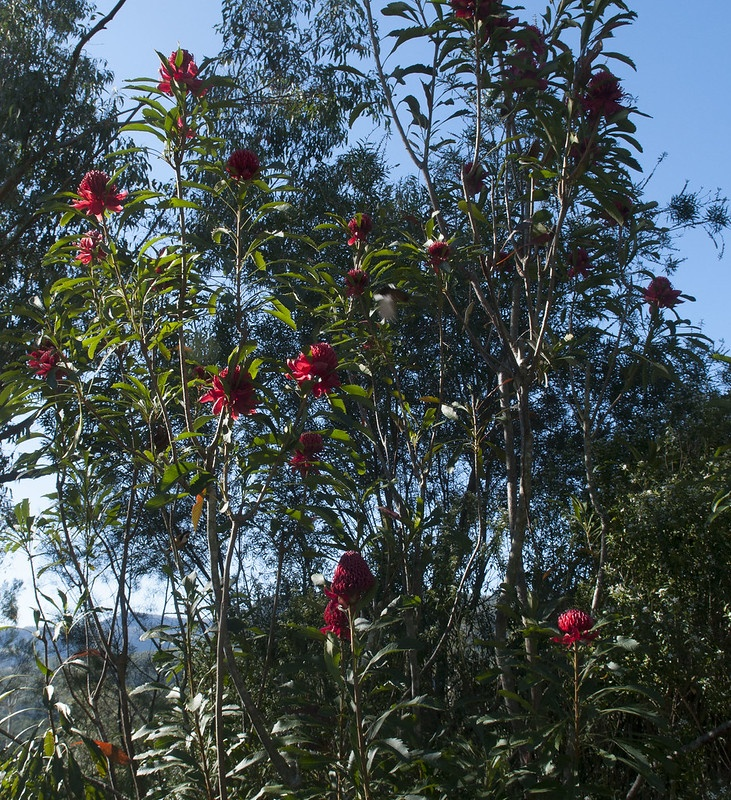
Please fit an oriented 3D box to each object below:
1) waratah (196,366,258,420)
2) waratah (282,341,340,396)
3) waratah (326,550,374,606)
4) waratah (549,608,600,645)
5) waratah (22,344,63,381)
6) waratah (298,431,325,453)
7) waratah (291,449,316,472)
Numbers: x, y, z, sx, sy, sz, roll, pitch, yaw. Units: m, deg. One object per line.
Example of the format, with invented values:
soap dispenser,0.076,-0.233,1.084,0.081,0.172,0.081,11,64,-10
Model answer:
waratah,-0.405,-0.003,2.903,0.145,0.158,0.257,2,-23,-21
waratah,-0.140,-0.091,2.911,0.139,0.152,0.150,-10,17,26
waratah,-0.041,0.502,2.741,0.124,0.182,0.130,-2,-5,-4
waratah,0.654,0.712,3.032,0.107,0.123,0.112,0,-22,-8
waratah,-1.020,-0.120,3.123,0.065,0.154,0.140,-5,0,-22
waratah,-0.174,0.141,3.140,0.065,0.075,0.063,-10,-6,21
waratah,-0.211,0.217,3.331,0.091,0.039,0.103,-8,-51,6
